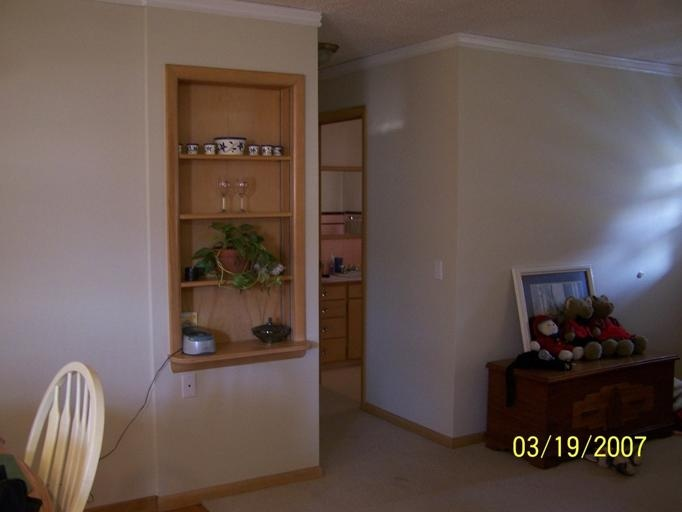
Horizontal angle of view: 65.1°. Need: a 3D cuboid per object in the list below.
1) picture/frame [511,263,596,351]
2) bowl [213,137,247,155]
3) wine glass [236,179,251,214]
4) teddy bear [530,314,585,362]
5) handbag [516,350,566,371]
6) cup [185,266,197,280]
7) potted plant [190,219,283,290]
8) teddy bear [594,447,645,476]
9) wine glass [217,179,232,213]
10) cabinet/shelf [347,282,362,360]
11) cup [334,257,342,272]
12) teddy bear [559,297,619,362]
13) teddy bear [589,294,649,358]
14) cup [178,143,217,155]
[{"bbox_3d":[1.636,0.420,4.187,0.640,0.564,0.045,-4,-2,-23],"label":"picture/frame"},{"bbox_3d":[-0.705,-0.676,3.372,0.135,0.065,0.140,1,3,0],"label":"bowl"},{"bbox_3d":[-0.630,-0.391,3.444,0.085,0.202,0.122,-2,9,-10],"label":"wine glass"},{"bbox_3d":[1.629,0.625,4.088,0.418,0.359,0.409,2,-9,-32],"label":"teddy bear"},{"bbox_3d":[1.448,0.769,3.857,0.250,0.097,0.168,-3,3,1],"label":"handbag"},{"bbox_3d":[-0.941,0.110,3.361,0.080,0.081,0.055,-4,9,-21],"label":"cup"},{"bbox_3d":[-0.692,-0.025,3.473,0.546,0.372,0.547,-2,1,-39],"label":"potted plant"},{"bbox_3d":[1.940,1.437,3.733,0.165,0.054,0.167,-3,4,-23],"label":"teddy bear"},{"bbox_3d":[-0.740,-0.384,3.396,0.075,0.202,0.122,-2,9,-13],"label":"wine glass"},{"bbox_3d":[0.135,0.723,5.784,0.159,0.884,0.154,-2,8,-10],"label":"cabinet/shelf"},{"bbox_3d":[-0.033,0.101,6.079,0.093,0.157,0.097,0,9,0],"label":"cup"},{"bbox_3d":[1.924,0.539,4.156,0.378,0.533,0.333,2,-14,-22],"label":"teddy bear"},{"bbox_3d":[2.144,0.560,4.249,0.368,0.444,0.419,-2,1,-30],"label":"teddy bear"},{"bbox_3d":[-0.890,-0.665,3.319,0.225,0.079,0.154,-3,9,-14],"label":"cup"}]
